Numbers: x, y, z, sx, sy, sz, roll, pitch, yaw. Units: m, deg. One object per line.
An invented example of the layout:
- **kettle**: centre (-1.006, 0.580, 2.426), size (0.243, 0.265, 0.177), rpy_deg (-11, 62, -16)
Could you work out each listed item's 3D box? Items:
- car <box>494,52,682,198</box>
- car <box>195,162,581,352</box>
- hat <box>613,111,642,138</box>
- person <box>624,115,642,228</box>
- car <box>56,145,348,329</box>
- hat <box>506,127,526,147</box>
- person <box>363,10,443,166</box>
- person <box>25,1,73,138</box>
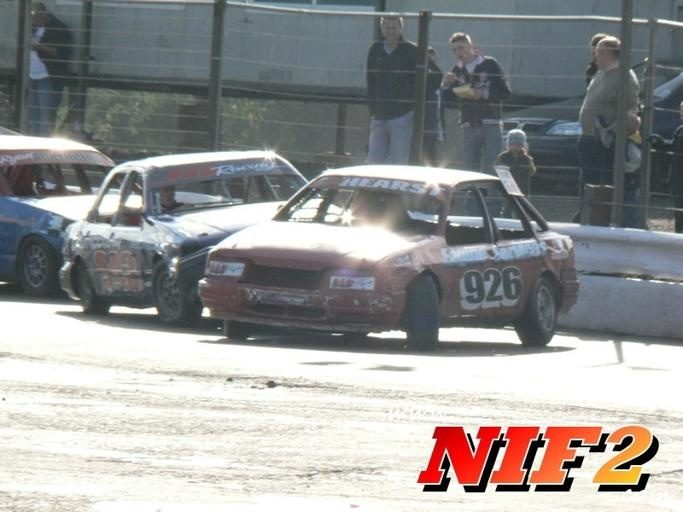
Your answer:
- **car**: centre (2.778, -1.324, 18.305), size (2.328, 0.833, 1.081), rpy_deg (2, 7, 5)
- **car**: centre (0.677, 0.040, 15.550), size (1.807, 1.358, 2.970), rpy_deg (0, -4, 38)
- **hat**: centre (3.077, -1.413, 17.271), size (0.208, 0.291, 0.263), rpy_deg (2, -9, 41)
- **person**: centre (3.144, -0.936, 17.257), size (0.181, 1.212, 0.334), rpy_deg (3, 10, 10)
- **car**: centre (-1.902, -0.233, 17.107), size (1.608, 1.121, 2.562), rpy_deg (-6, -1, -40)
- **hat**: centre (2.003, -1.373, 18.314), size (0.152, 0.125, 0.234), rpy_deg (5, 19, 6)
- **person**: centre (0.591, -1.943, 18.632), size (0.619, 1.741, 0.299), rpy_deg (6, 11, 29)
- **person**: centre (-3.806, -2.445, 20.892), size (0.768, 1.746, 0.183), rpy_deg (9, 12, 38)
